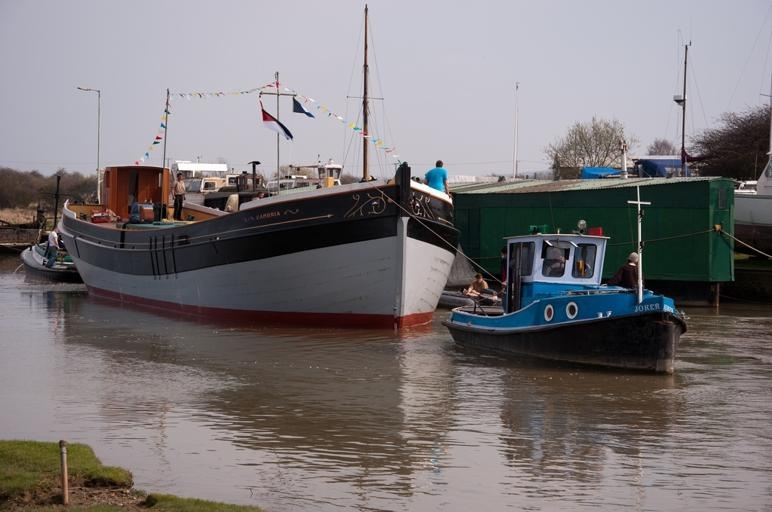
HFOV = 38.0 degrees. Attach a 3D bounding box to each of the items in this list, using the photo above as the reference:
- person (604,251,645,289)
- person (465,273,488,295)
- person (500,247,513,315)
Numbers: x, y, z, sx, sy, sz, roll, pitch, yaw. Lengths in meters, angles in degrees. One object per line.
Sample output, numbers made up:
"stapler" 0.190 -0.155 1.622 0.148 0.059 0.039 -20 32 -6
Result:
"person" 5.818 0.367 27.228 0.614 0.924 0.826 4 15 16
"person" 2.555 0.812 31.350 0.537 0.517 0.767 4 0 11
"person" 3.122 0.599 28.764 0.323 1.667 0.249 -1 1 4
